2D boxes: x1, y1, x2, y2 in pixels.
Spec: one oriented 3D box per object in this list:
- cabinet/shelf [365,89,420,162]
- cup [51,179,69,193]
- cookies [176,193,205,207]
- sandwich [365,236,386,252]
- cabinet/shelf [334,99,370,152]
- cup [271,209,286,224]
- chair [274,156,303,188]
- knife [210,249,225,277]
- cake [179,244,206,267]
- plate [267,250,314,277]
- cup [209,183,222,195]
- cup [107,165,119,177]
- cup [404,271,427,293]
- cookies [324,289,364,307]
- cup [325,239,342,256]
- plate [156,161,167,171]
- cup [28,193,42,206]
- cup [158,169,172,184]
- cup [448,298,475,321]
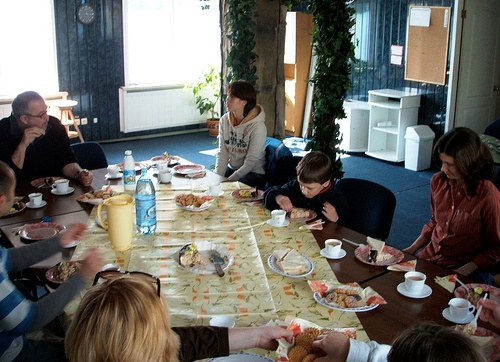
[{"bbox_3d":[2.512,-0.972,6.048,0.728,1.375,0.872,-15,27,-35],"label":"cabinet/shelf"},{"bbox_3d":[-1.373,0.034,2.528,0.112,0.078,0.092,-1,7,-32],"label":"cup"},{"bbox_3d":[-0.398,0.129,2.306,0.102,0.052,0.123,-5,2,-22],"label":"cookies"},{"bbox_3d":[0.631,0.317,1.755,0.017,0.070,0.068,21,41,-37],"label":"sandwich"},{"bbox_3d":[1.935,-0.943,6.477,0.521,0.861,0.279,2,18,15],"label":"cabinet/shelf"},{"bbox_3d":[0.172,0.215,2.067,0.077,0.065,0.081,2,5,0],"label":"cup"},{"bbox_3d":[0.308,-0.078,3.094,0.238,0.362,0.250,1,8,-2],"label":"chair"},{"bbox_3d":[-0.157,0.401,1.675,0.045,0.010,0.169,-4,17,-10],"label":"knife"},{"bbox_3d":[-0.296,0.357,1.716,0.120,0.077,0.160,-7,17,-13],"label":"cake"},{"bbox_3d":[0.200,0.396,1.648,0.130,0.031,0.137,-9,19,-29],"label":"plate"},{"bbox_3d":[-0.247,0.060,2.499,0.067,0.064,0.087,1,9,13],"label":"cup"},{"bbox_3d":[-1.109,-0.077,2.876,0.086,0.087,0.113,5,7,41],"label":"cup"},{"bbox_3d":[0.712,0.436,1.500,0.084,0.066,0.083,4,18,-1],"label":"cup"},{"bbox_3d":[0.389,0.486,1.441,0.076,0.027,0.081,-6,13,-43],"label":"cookies"},{"bbox_3d":[0.436,0.336,1.775,0.072,0.058,0.080,2,15,7],"label":"cup"},{"bbox_3d":[-0.734,-0.127,2.925,0.079,0.083,0.103,-1,-1,0],"label":"plate"},{"bbox_3d":[-1.414,0.118,2.318,0.068,0.065,0.088,4,20,0],"label":"cup"},{"bbox_3d":[-0.657,-0.038,2.700,0.097,0.075,0.096,1,12,0],"label":"cup"},{"bbox_3d":[0.828,0.489,1.362,0.089,0.063,0.069,7,17,29],"label":"cup"}]
